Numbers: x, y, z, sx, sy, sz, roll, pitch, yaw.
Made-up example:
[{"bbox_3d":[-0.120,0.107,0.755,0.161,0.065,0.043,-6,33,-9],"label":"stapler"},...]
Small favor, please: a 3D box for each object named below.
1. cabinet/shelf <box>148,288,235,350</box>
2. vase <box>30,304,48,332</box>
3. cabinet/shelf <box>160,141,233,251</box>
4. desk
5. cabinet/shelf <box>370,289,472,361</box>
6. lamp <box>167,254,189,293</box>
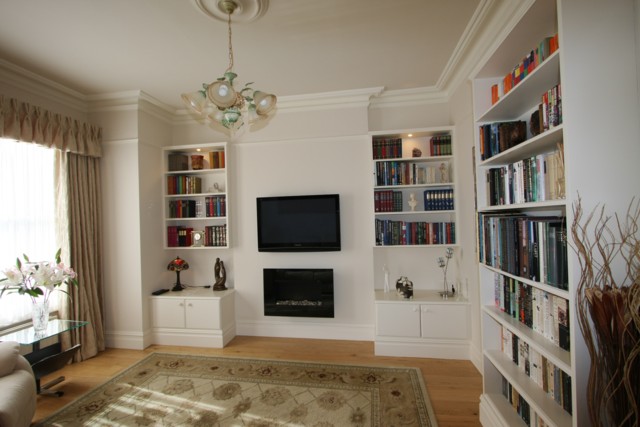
[{"bbox_3d":[-1.697,1.407,6.006,1.031,0.667,0.626,0,2,15],"label":"cabinet/shelf"},{"bbox_3d":[-3.030,1.117,4.839,0.189,0.321,0.190,5,3,-39],"label":"vase"},{"bbox_3d":[-1.677,-0.260,6.090,0.965,1.413,0.633,0,15,5],"label":"cabinet/shelf"},{"bbox_3d":[-2.995,1.514,4.925,0.736,0.746,0.832,1,-1,5],"label":"desk"},{"bbox_3d":[1.262,1.372,5.562,1.129,0.688,0.645,-1,2,11],"label":"cabinet/shelf"},{"bbox_3d":[-1.947,0.815,6.084,0.288,0.457,0.382,-6,15,-17],"label":"lamp"}]
